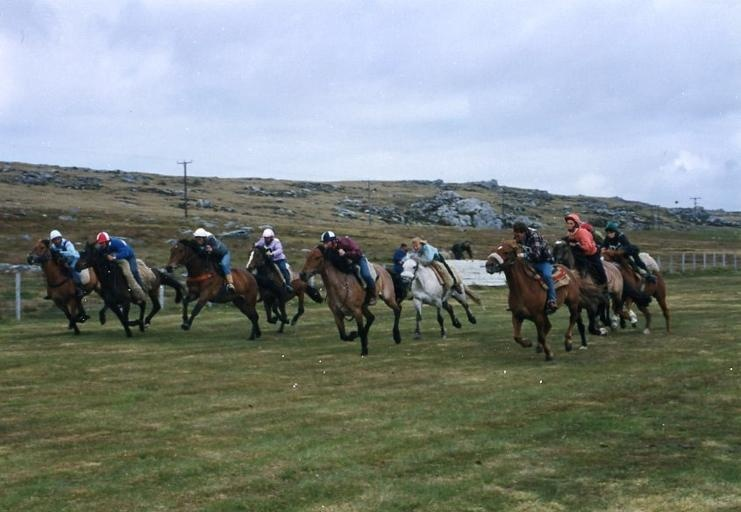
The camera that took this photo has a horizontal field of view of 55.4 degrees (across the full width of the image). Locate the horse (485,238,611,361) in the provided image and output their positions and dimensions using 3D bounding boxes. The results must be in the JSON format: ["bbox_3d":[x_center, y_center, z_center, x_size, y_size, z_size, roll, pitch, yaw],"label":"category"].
[{"bbox_3d":[4.488,1.066,18.132,1.418,3.062,3.354,11,16,41],"label":"horse"}]

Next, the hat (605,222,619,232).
[{"bbox_3d":[7.485,-0.952,21.974,0.372,0.312,0.454,-9,-31,30],"label":"hat"}]

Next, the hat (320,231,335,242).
[{"bbox_3d":[-1.085,-0.536,19.302,0.381,0.223,0.500,-9,1,28],"label":"hat"}]

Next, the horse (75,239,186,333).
[{"bbox_3d":[-7.351,1.107,22.535,1.406,2.736,5.311,0,-3,19],"label":"horse"}]

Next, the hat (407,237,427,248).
[{"bbox_3d":[1.543,-0.439,22.126,0.367,0.204,0.485,-14,1,35],"label":"hat"}]

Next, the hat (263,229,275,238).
[{"bbox_3d":[-3.231,-0.718,22.692,0.493,0.268,0.601,2,1,-4],"label":"hat"}]
